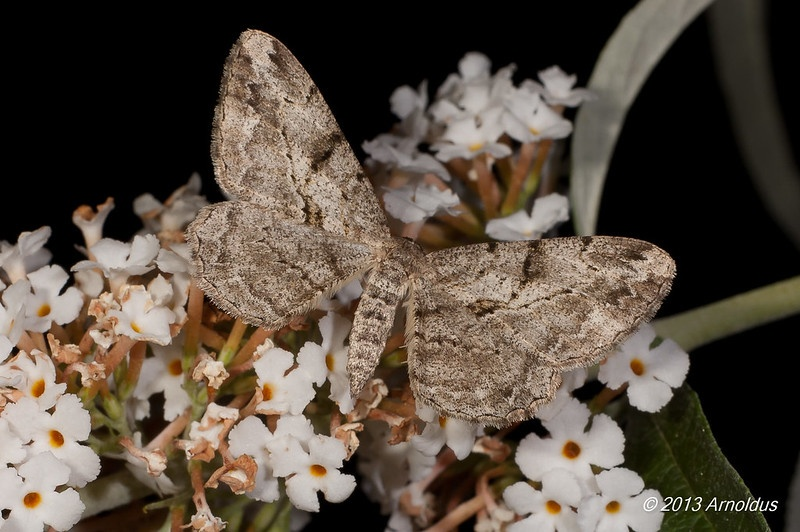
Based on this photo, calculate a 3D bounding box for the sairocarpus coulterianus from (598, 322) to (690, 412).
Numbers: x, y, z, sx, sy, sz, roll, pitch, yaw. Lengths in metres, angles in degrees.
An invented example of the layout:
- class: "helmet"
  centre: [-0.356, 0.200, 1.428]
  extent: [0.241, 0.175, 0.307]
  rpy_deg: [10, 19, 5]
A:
- class: "sairocarpus coulterianus"
  centre: [0.483, 0.211, 1.751]
  extent: [0.167, 0.043, 0.176]
  rpy_deg: [32, 69, 9]
